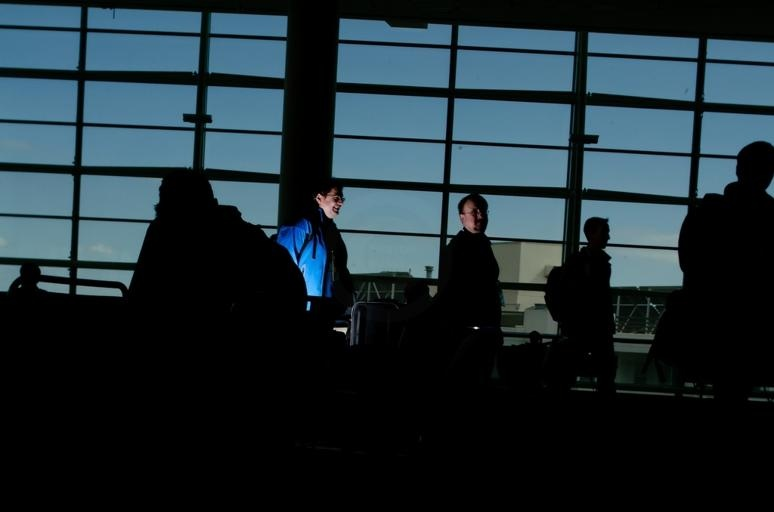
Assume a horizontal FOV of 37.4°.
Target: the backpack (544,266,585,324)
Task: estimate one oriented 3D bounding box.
[{"bbox_3d":[2.079,0.460,13.451,0.407,0.741,0.200,1,-13,9],"label":"backpack"}]
